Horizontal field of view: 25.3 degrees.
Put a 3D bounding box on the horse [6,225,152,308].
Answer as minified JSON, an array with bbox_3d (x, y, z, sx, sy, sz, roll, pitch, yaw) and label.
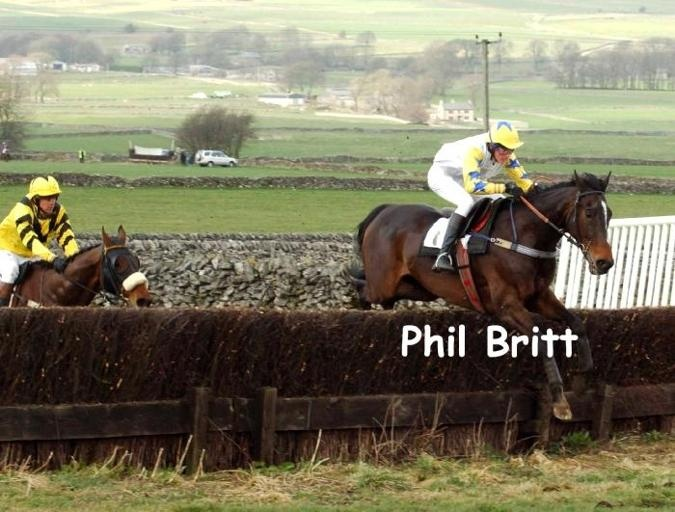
[{"bbox_3d":[-16.772,1.406,103.197,7.098,6.381,7.230,15,12,10],"label":"horse"}]
